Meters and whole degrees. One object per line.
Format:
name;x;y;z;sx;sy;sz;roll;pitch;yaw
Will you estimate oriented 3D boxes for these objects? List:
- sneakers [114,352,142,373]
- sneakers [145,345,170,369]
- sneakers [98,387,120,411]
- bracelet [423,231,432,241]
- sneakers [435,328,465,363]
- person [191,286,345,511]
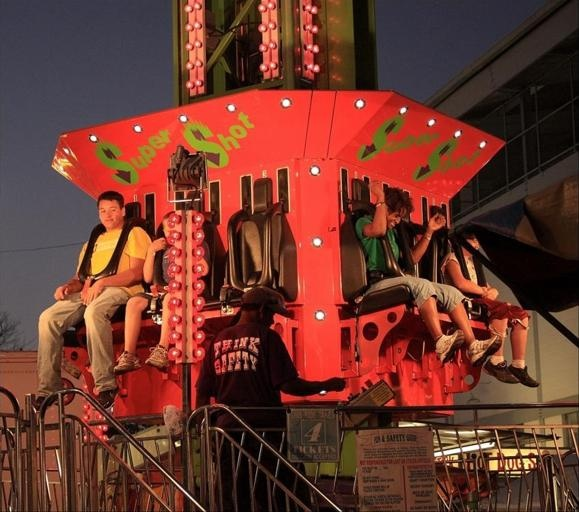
sneakers;-1.980;1.289;12.822;0.309;0.246;0.199;-1;-19;-10
sneakers;-1.574;1.218;12.732;0.231;0.238;0.505;9;-12;4
sneakers;-2.232;1.773;13.017;0.226;0.241;0.388;-6;-19;4
bracelet;1.730;-0.263;13.148;0.030;0.096;0.093;7;10;-13
sneakers;1.821;1.039;12.031;0.234;0.198;0.484;30;-57;-13
person;-0.322;1.362;10.192;1.155;2.211;0.620;-2;-18;-6
